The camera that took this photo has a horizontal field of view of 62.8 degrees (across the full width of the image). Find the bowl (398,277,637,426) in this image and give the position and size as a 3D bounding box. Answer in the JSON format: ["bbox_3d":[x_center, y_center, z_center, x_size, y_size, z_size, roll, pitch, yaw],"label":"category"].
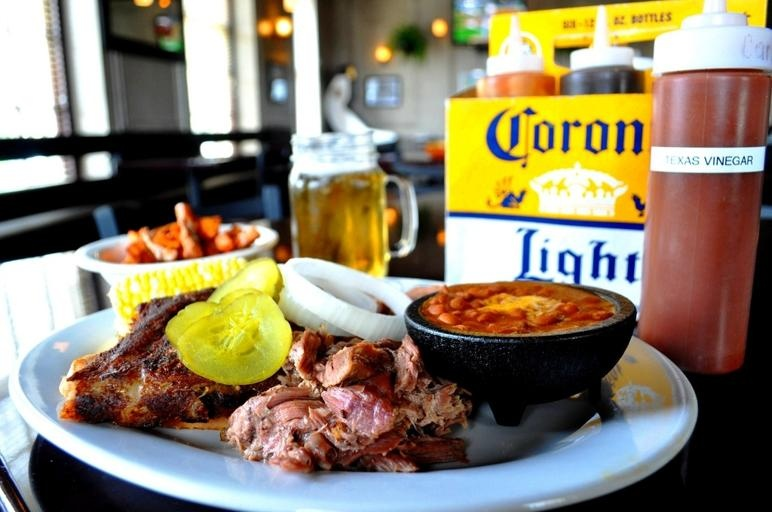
[{"bbox_3d":[0.188,0.071,0.826,0.236,0.112,0.225,-2,7,0],"label":"bowl"}]

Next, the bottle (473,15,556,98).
[{"bbox_3d":[0.222,-0.318,1.112,0.170,0.175,0.163,0,7,5],"label":"bottle"}]
